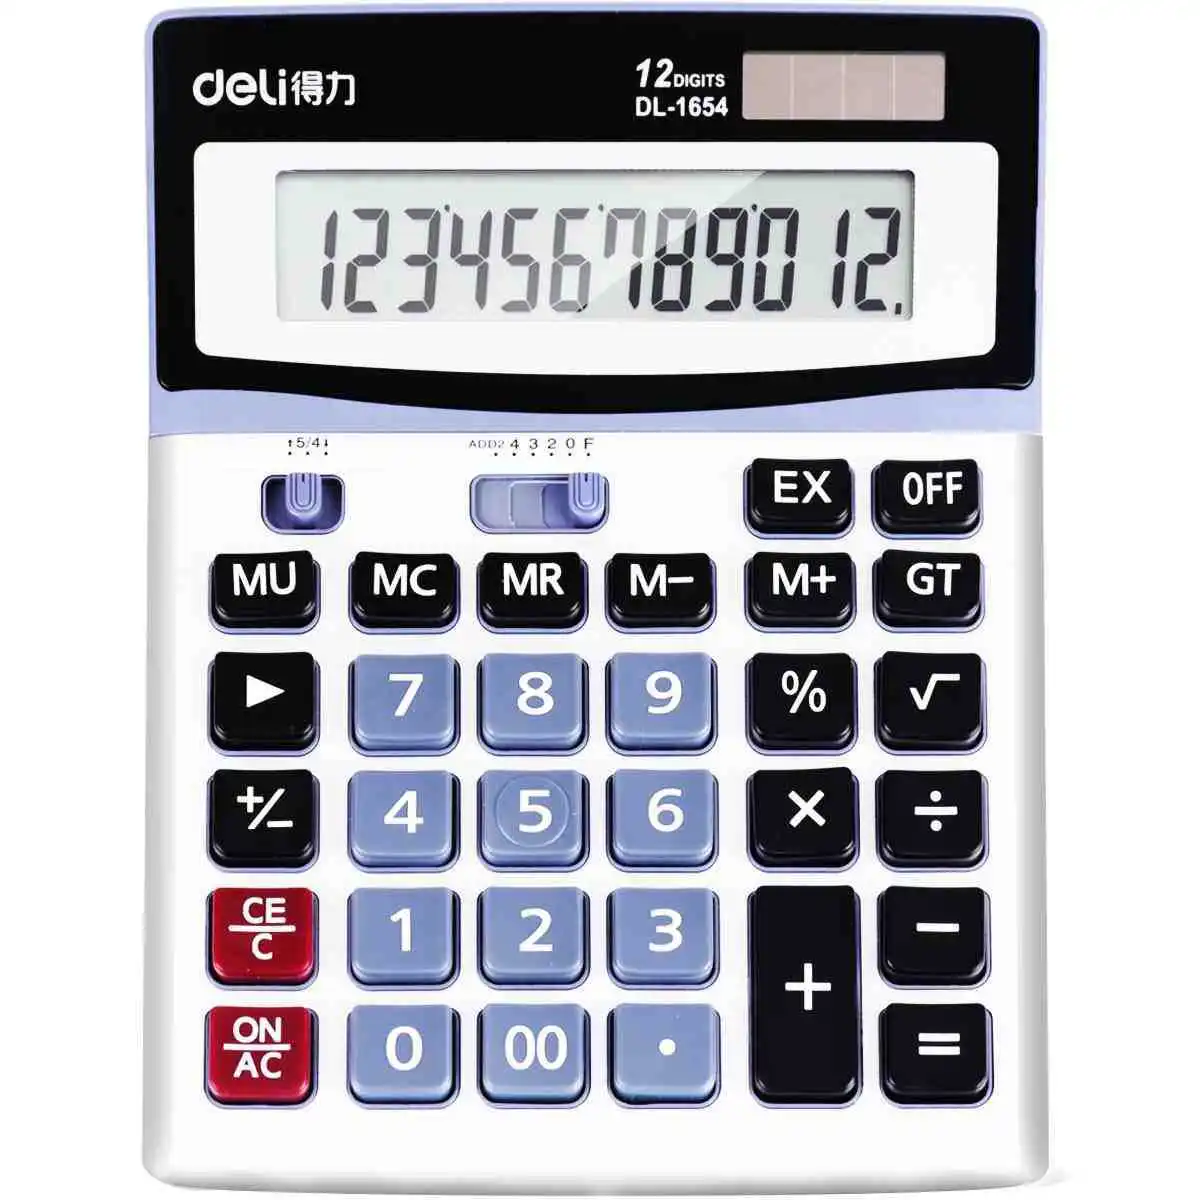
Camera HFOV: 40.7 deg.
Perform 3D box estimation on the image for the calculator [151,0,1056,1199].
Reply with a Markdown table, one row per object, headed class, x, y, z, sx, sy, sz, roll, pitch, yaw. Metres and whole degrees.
| class | x | y | z | sx | sy | sz | roll | pitch | yaw |
| --- | --- | --- | --- | --- | --- | --- | --- | --- | --- |
| calculator | -0.007 | -0.012 | 0.915 | 0.509 | 0.585 | 0.462 | 0 | 31 | 11 |
